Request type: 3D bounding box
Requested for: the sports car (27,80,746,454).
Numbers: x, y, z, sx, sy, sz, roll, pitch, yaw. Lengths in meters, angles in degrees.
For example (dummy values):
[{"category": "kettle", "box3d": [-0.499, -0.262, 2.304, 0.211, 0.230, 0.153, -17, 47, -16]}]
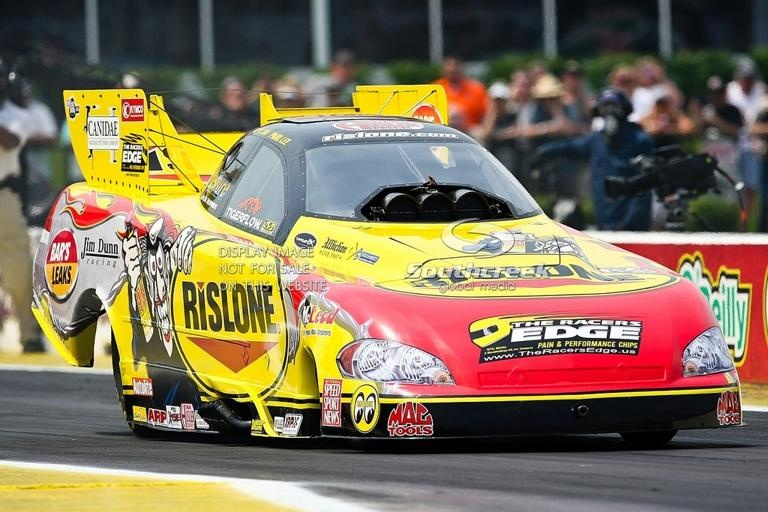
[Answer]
[{"category": "sports car", "box3d": [-0.149, 0.133, 10.127, 5.292, 2.745, 1.958, 6, 7, 38]}]
